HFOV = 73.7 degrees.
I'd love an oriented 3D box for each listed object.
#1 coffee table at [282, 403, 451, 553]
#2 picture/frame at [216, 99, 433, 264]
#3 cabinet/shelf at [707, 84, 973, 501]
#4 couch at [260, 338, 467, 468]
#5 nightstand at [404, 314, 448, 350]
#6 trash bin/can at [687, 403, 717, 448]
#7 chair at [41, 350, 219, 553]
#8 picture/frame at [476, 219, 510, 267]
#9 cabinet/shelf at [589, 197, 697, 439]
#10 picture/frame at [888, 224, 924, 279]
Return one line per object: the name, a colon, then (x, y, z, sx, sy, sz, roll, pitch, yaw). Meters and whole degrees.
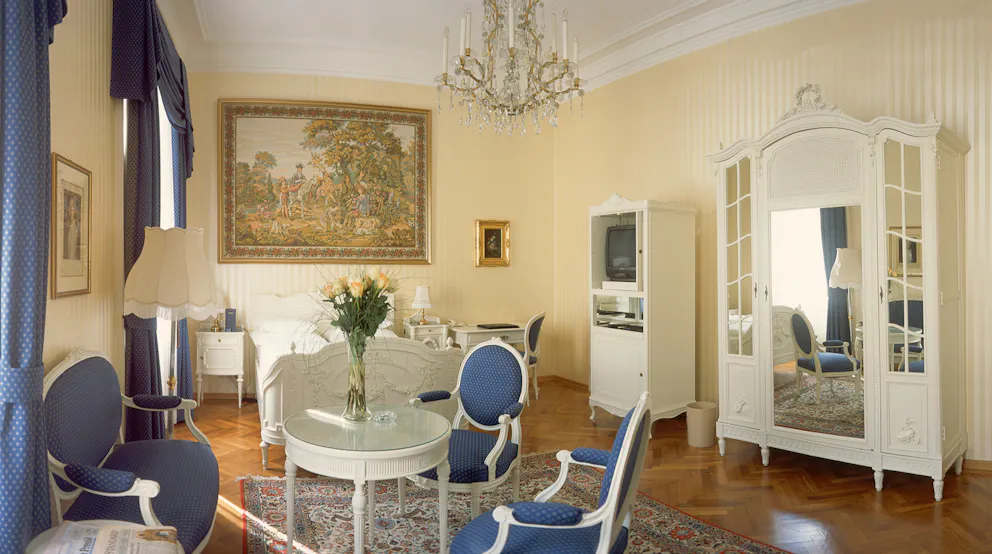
coffee table: (-1.125, 1.595, 6.073, 1.438, 1.174, 1.335, -2, -3, 39)
picture/frame: (-2.691, -1.436, 9.821, 2.725, 1.901, 0.100, 0, 4, -12)
cabinet/shelf: (3.760, 0.124, 7.582, 2.600, 3.848, 1.088, -1, -1, 43)
couch: (-1.586, 1.423, 7.464, 1.499, 0.936, 1.954, 0, -1, -28)
nightstand: (-1.035, 0.797, 10.020, 0.625, 0.801, 0.539, -1, -1, -19)
trash bin/can: (2.421, 1.820, 8.138, 0.462, 0.490, 0.475, 0, 0, 5)
chair: (-3.325, 1.595, 5.931, 1.106, 1.428, 1.818, 0, 9, -13)
picture/frame: (-0.078, -0.539, 10.562, 0.812, 0.977, 0.112, 0, 0, -22)
cabinet/shelf: (1.861, 0.434, 8.513, 1.428, 2.940, 0.611, 3, 3, 10)
picture/frame: (4.290, -0.272, 6.961, 0.326, 0.525, 0.071, 3, 3, 14)
